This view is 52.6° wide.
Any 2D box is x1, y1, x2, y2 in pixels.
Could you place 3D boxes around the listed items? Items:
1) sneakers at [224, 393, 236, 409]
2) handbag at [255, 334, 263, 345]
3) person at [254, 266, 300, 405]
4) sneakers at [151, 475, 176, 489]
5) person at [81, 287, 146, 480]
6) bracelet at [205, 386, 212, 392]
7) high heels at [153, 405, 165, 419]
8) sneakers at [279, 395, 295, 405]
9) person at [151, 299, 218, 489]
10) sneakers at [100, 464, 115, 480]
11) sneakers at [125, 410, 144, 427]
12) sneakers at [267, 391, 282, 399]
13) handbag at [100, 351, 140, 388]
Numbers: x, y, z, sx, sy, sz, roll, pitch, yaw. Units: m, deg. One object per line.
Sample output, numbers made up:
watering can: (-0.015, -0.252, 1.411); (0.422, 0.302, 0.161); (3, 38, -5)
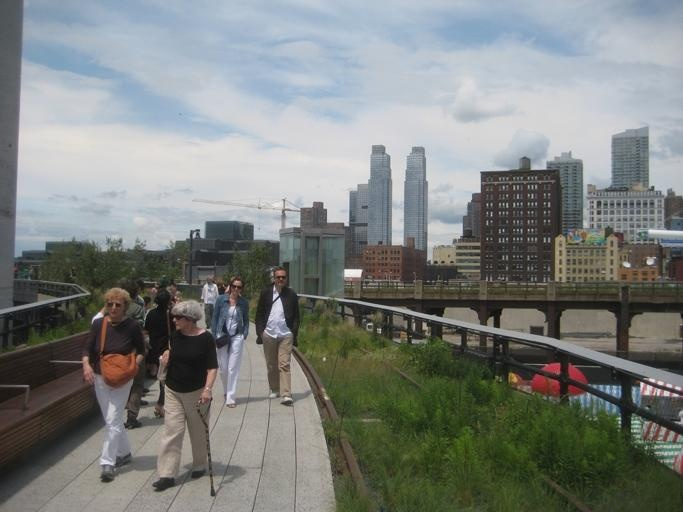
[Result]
sneakers: (-1.788, 2.344, 11.218); (0.143, 0.289, 0.308); (1, 2, -12)
handbag: (-1.389, 1.447, 11.798); (0.147, 0.227, 0.071); (3, 1, -9)
person: (-1.092, 1.344, 11.815); (0.713, 2.258, 0.870); (1, 2, -7)
sneakers: (-2.178, 2.810, 8.540); (0.103, 0.149, 0.329); (1, -15, 24)
person: (-2.992, 1.609, 8.929); (0.758, 2.352, 0.786); (1, 2, -3)
bracelet: (-1.669, 1.679, 8.663); (0.069, 0.024, 0.067); (0, 3, -33)
high heels: (-2.870, 2.462, 10.908); (0.130, 0.162, 0.384); (0, -6, -6)
sneakers: (-0.923, 2.439, 11.613); (0.131, 0.103, 0.321); (-11, -10, -27)
person: (-1.947, 1.723, 8.739); (0.757, 2.275, 0.589); (1, 2, -11)
sneakers: (-2.927, 2.716, 8.645); (0.094, 0.121, 0.273); (3, -15, -10)
sneakers: (-3.118, 2.470, 10.473); (0.125, 0.256, 0.356); (2, 0, 10)
sneakers: (-1.133, 2.399, 11.924); (0.079, 0.151, 0.209); (-6, -21, 21)
handbag: (-2.852, 1.450, 8.871); (0.404, 0.447, 0.176); (-1, -6, -27)
